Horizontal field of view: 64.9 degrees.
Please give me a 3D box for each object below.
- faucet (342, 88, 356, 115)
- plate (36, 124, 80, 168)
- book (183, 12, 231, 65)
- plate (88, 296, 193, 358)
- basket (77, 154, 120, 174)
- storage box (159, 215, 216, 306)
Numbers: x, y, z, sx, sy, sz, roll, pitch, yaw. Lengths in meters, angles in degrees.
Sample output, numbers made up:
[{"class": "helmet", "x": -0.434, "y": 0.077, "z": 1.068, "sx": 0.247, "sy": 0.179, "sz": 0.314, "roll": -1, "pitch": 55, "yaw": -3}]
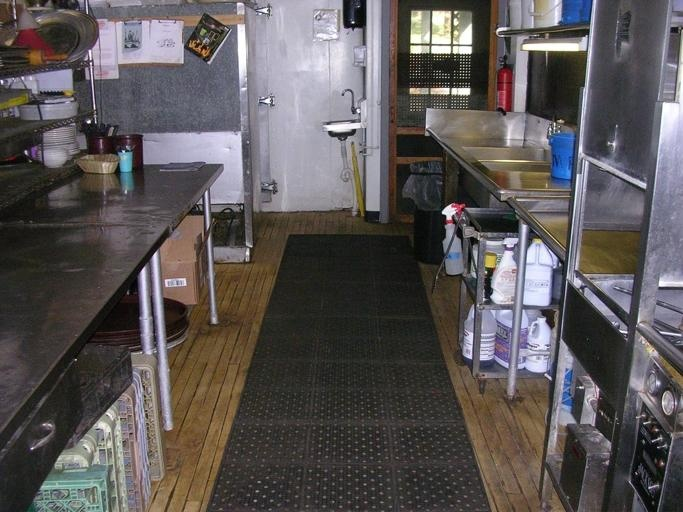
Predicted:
[{"class": "faucet", "x": 0.085, "y": -1.712, "z": 5.951, "sx": 0.162, "sy": 0.294, "sz": 0.310, "roll": -3, "pitch": 17, "yaw": 0}, {"class": "plate", "x": -1.866, "y": -0.756, "z": 3.645, "sx": 0.303, "sy": 0.310, "sz": 0.297, "roll": -4, "pitch": 22, "yaw": -17}, {"class": "book", "x": -1.086, "y": -1.730, "z": 4.301, "sx": 0.284, "sy": 0.379, "sz": 0.098, "roll": 33, "pitch": 3, "yaw": -4}, {"class": "plate", "x": -0.915, "y": 0.315, "z": 2.422, "sx": 0.371, "sy": 0.079, "sz": 0.379, "roll": 3, "pitch": 15, "yaw": 1}, {"class": "basket", "x": -1.591, "y": -0.608, "z": 3.523, "sx": 0.179, "sy": 0.071, "sz": 0.164, "roll": -4, "pitch": 20, "yaw": -8}, {"class": "storage box", "x": -1.049, "y": 0.038, "z": 3.629, "sx": 0.291, "sy": 0.364, "sz": 0.556, "roll": -1, "pitch": 28, "yaw": -2}]
